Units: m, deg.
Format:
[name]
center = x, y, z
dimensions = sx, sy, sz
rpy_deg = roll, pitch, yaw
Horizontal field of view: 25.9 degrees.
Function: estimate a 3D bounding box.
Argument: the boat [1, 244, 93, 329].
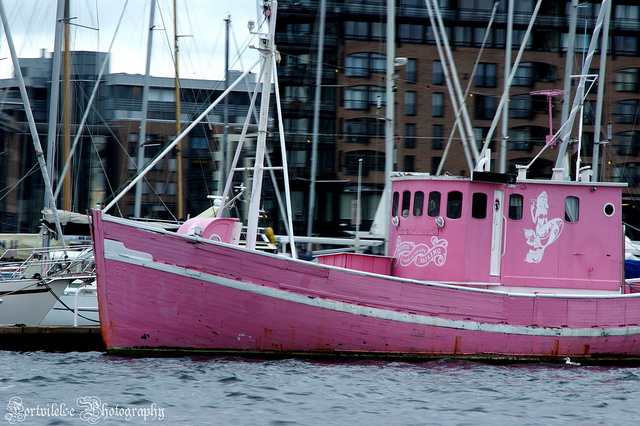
[boat]
center = -9.572, 2.286, 47.396
dimensions = 2.693, 2.695, 5.081
rpy_deg = 2, 1, -13
